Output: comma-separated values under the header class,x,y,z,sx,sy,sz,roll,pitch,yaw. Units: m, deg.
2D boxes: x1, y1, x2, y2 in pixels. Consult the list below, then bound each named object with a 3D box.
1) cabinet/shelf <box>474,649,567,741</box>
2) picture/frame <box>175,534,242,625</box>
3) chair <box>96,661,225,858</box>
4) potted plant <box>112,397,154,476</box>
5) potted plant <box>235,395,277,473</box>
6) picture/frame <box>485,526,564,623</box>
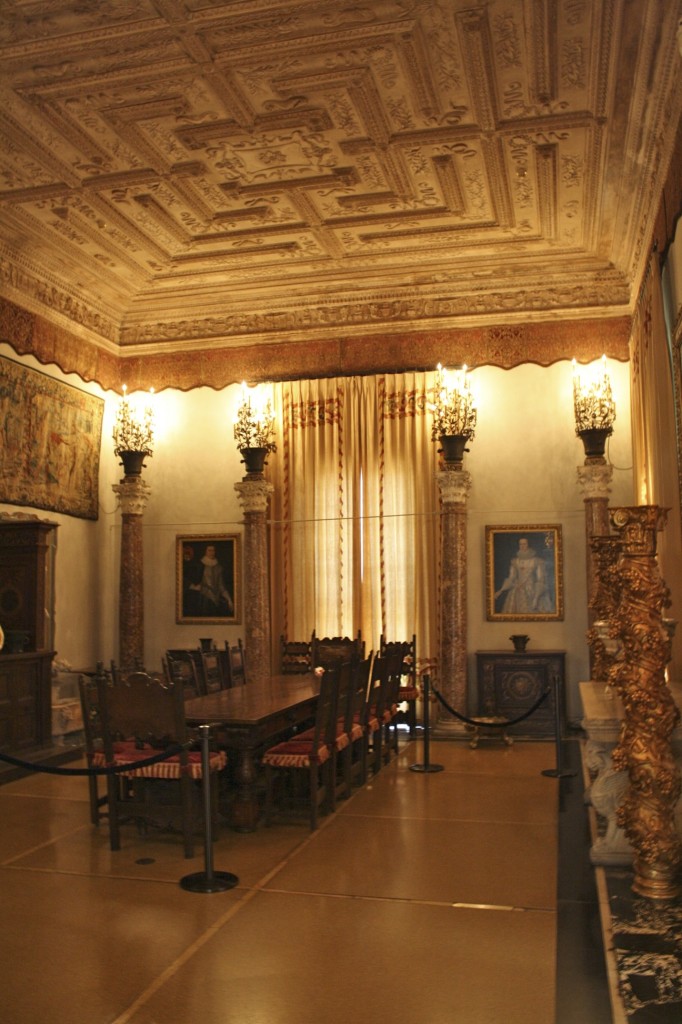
class,x,y,z,sx,sy,sz,roll,pitch,yaw
cabinet/shelf,1.956,1.987,8.696,1.092,1.041,0.430,-2,-8,11
picture/frame,-1.699,0.913,10.481,1.105,1.402,0.151,-2,-7,10
chair,-1.063,1.476,4.933,0.747,1.030,0.644,-3,-2,20
potted plant,-2.707,-1.010,10.509,0.479,1.198,0.706,2,-8,-12
potted plant,-1.060,-0.963,10.087,0.437,1.117,0.594,-3,-9,25
picture/frame,2.177,0.760,9.448,1.073,1.336,0.096,-1,-8,13
